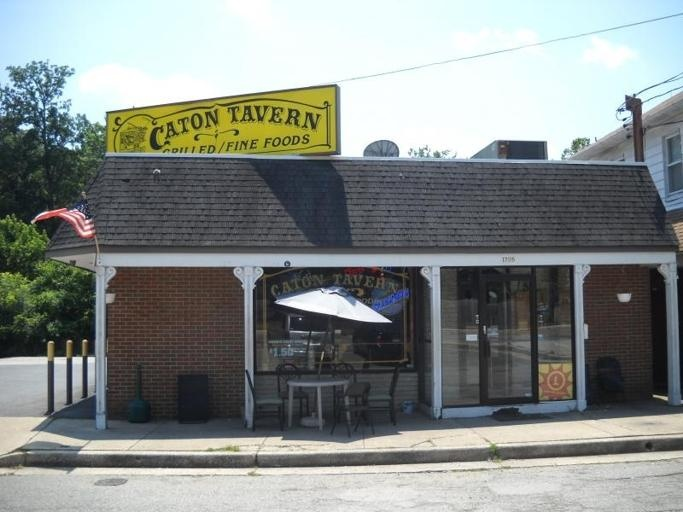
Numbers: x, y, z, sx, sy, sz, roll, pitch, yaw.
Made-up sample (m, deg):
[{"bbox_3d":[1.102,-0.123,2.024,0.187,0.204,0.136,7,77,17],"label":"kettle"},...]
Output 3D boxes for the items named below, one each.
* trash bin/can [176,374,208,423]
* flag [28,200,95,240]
[{"bbox_3d":[-3.481,3.356,22.050,1.044,1.427,0.743,0,-7,-6],"label":"trash bin/can"},{"bbox_3d":[-6.424,-0.832,21.438,1.501,0.855,0.899,-3,6,-12],"label":"flag"}]
